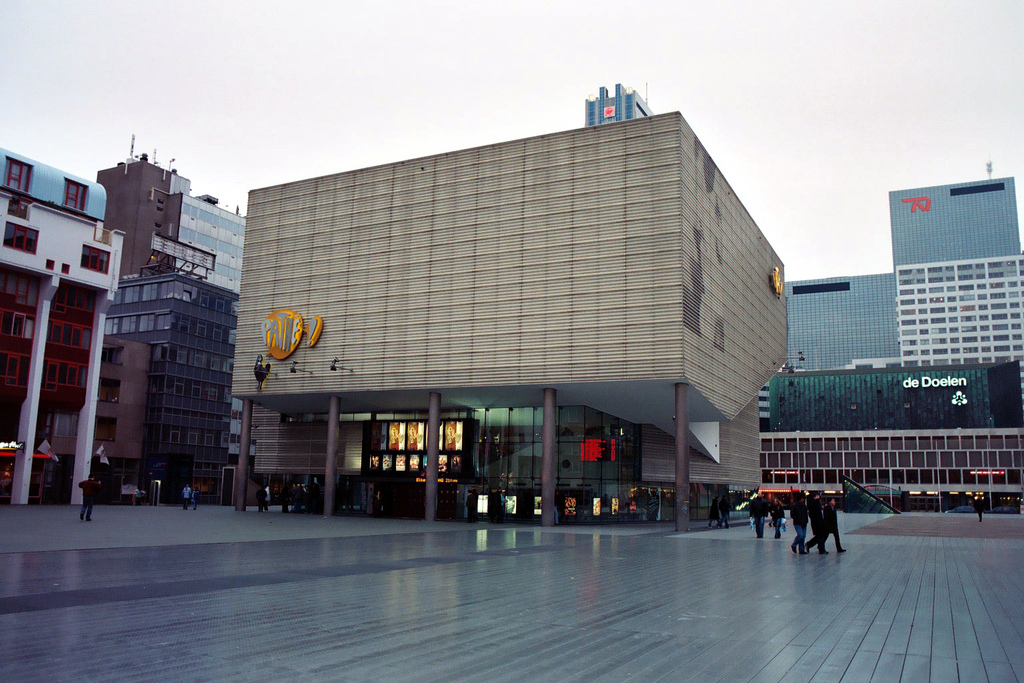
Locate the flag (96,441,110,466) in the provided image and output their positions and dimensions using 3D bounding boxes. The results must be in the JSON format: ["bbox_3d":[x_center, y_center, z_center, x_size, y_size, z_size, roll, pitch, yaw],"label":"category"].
[{"bbox_3d":[-37.760,10.227,67.390,1.133,2.051,9.933,7,-13,-29],"label":"flag"}]

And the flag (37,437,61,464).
[{"bbox_3d":[-38.724,9.089,60.315,2.076,1.170,2.106,-8,-32,40],"label":"flag"}]
